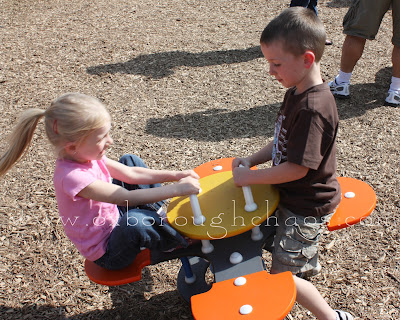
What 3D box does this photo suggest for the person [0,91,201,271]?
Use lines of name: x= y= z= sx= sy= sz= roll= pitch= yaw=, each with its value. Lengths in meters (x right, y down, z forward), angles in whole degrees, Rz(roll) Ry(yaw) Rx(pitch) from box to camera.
person: x=-0.600 y=0.129 z=2.571 sx=1.110 sy=1.030 sz=0.829 roll=31 pitch=54 yaw=32
